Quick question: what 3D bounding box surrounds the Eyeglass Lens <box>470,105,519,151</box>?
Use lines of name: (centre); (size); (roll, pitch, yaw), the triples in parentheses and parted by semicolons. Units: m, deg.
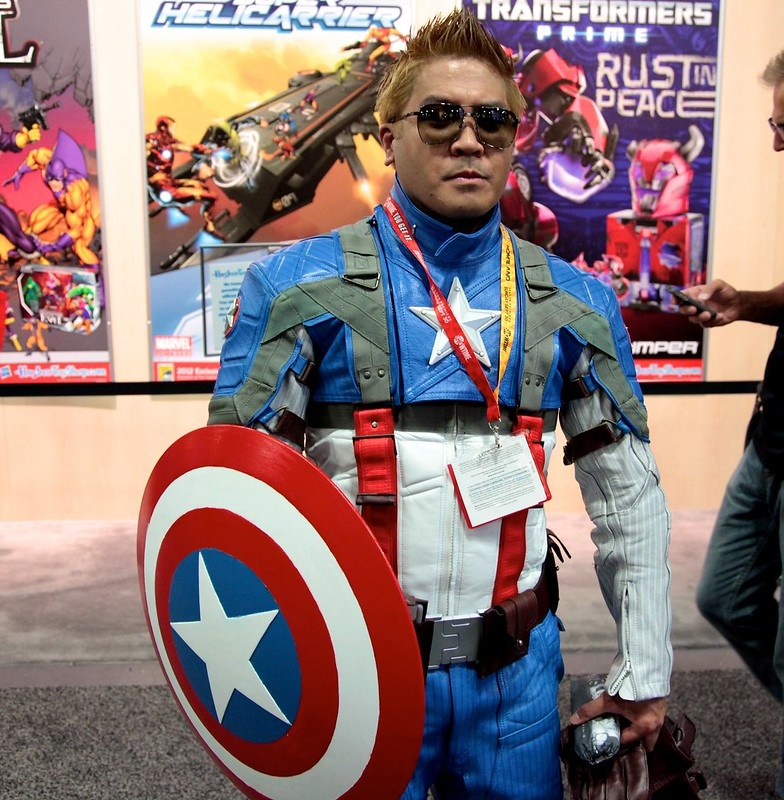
Eyeglass Lens: (0.174, -0.464, 1.274); (0.074, 0.032, 0.073); (-6, 18, -39)
